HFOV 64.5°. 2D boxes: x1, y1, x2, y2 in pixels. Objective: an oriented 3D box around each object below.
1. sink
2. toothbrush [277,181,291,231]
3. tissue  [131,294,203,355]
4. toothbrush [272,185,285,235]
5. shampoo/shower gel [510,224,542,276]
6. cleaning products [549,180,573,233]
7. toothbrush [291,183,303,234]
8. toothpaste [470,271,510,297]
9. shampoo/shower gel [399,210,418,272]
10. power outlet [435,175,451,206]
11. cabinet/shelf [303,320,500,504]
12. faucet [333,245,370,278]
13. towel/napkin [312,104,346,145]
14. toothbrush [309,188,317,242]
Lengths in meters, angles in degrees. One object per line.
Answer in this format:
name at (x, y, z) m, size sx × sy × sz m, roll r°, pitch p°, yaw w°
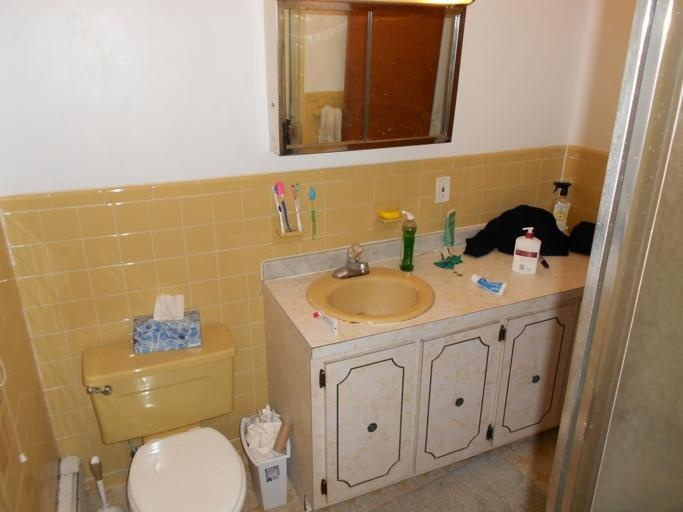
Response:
sink at (0.122, 0.211, 2.298) m, size 0.536 × 0.172 × 0.407 m, roll -4°, pitch 22°, yaw -3°
toothbrush at (-0.248, -0.209, 2.344) m, size 0.033 × 0.249 × 0.024 m, roll -16°, pitch 28°, yaw -25°
tissue  at (-0.721, 0.277, 2.263) m, size 0.254 × 0.227 × 0.136 m, roll -2°, pitch 0°, yaw -20°
toothbrush at (-0.271, -0.207, 2.346) m, size 0.035 × 0.264 × 0.032 m, roll -20°, pitch 28°, yaw -30°
shampoo/shower gel at (0.857, -0.028, 2.506) m, size 0.108 × 0.221 × 0.058 m, roll 11°, pitch 25°, yaw 20°
cleaning products at (1.169, -0.267, 2.883) m, size 0.100 × 0.296 × 0.251 m, roll 6°, pitch 23°, yaw 21°
toothbrush at (-0.200, -0.212, 2.373) m, size 0.040 × 0.227 × 0.018 m, roll -12°, pitch 22°, yaw -27°
toothpaste at (0.636, 0.117, 2.371) m, size 0.118 × 0.028 × 0.079 m, roll 15°, pitch 52°, yaw 33°
shampoo/shower gel at (0.314, -0.095, 2.555) m, size 0.071 × 0.266 × 0.260 m, roll 0°, pitch 22°, yaw 7°
power outlet at (0.501, -0.331, 2.671) m, size 0.093 × 0.134 × 0.014 m, roll -15°, pitch 24°, yaw -29°
cabinet/shelf at (0.229, 0.614, 2.229) m, size 0.659 × 0.588 × 0.363 m, roll -9°, pitch 19°, yaw -24°
faucet at (0.037, 0.017, 2.443) m, size 0.168 × 0.152 × 0.100 m, roll -9°, pitch 10°, yaw -21°
towel/napkin at (-0.058, -0.552, 2.247) m, size 0.131 × 0.191 × 0.042 m, roll -9°, pitch 36°, yaw -18°
toothbrush at (-0.122, -0.191, 2.421) m, size 0.039 × 0.240 × 0.035 m, roll -6°, pitch 21°, yaw -10°
